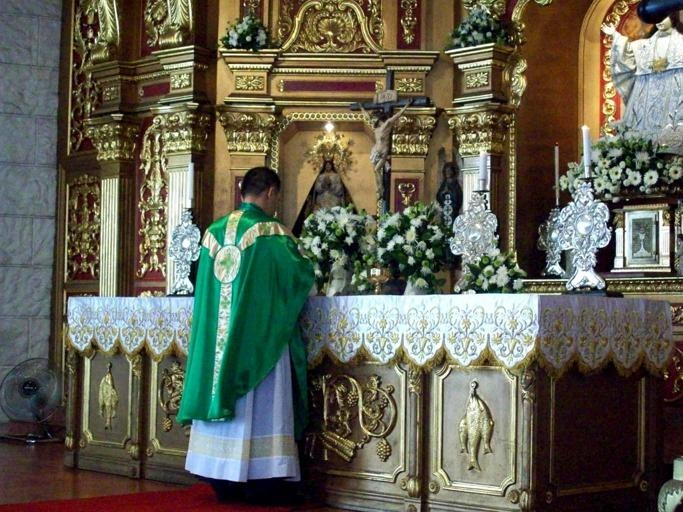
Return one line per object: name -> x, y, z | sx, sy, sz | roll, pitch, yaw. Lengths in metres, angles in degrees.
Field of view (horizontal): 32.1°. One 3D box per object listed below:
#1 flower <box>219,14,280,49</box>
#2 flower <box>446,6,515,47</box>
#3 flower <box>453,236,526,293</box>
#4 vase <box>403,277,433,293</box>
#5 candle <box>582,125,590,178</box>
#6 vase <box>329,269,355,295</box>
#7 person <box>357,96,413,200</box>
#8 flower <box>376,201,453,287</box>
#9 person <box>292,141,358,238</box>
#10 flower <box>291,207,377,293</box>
flower -> -0.869, -2.037, 10.938 | 0.326, 0.260, 0.341 | -2, 8, -12
flower -> 1.204, -1.997, 10.503 | 0.377, 0.288, 0.403 | -3, 4, 9
flower -> 1.001, 0.053, 8.086 | 0.334, 0.264, 0.357 | -5, 11, -15
vase -> 0.528, 0.193, 8.261 | 0.176, 0.104, 0.103 | -1, -3, 5
candle -> 1.628, -0.696, 7.906 | 0.040, 0.346, 0.132 | -1, -3, 7
vase -> -0.009, 0.177, 8.576 | 0.128, 0.191, 0.179 | 5, -11, -12
person -> 0.385, -0.884, 10.051 | 0.279, 0.794, 0.532 | 0, -3, 0
flower -> 0.500, -0.073, 8.351 | 0.531, 0.624, 0.263 | 0, -3, 2
person -> -0.124, -0.590, 11.240 | 0.654, 0.821, 0.375 | 2, -2, 2
flower -> -0.062, -0.091, 8.505 | 0.569, 0.669, 0.562 | 0, -5, -7
